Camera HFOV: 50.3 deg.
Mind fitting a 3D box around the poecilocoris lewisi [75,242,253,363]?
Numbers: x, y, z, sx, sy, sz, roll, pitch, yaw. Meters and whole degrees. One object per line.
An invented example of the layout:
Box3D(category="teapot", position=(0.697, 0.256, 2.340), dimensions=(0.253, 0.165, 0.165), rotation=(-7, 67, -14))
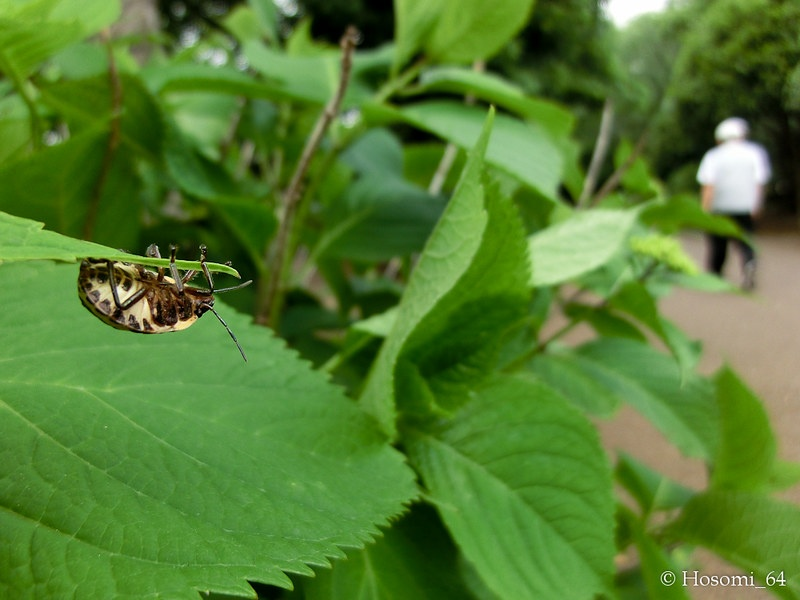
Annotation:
Box3D(category="poecilocoris lewisi", position=(-0.305, -0.005, 1.103), dimensions=(0.185, 0.064, 0.161), rotation=(9, 0, 8))
